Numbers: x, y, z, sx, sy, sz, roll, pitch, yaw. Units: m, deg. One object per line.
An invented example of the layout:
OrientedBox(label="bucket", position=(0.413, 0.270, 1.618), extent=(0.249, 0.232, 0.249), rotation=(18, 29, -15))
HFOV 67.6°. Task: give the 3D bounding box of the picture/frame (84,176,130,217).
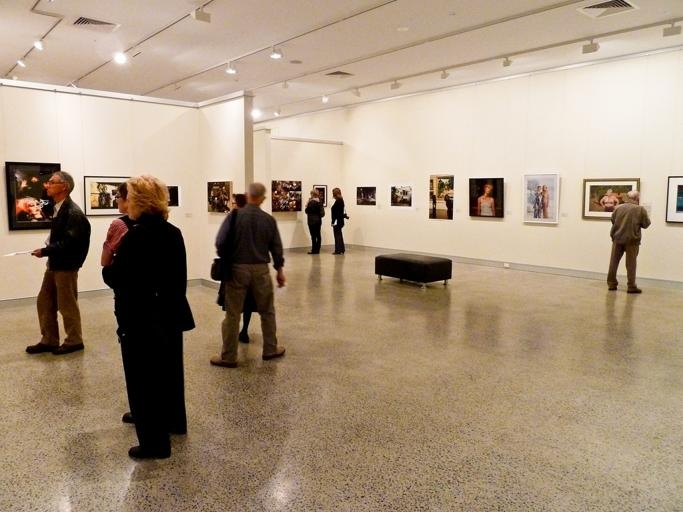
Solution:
OrientedBox(label="picture/frame", position=(-4.082, -1.021, 8.750), extent=(0.920, 0.939, 0.060), rotation=(-9, 13, -44))

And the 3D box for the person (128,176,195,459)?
OrientedBox(label="person", position=(-1.726, 0.605, 4.785), extent=(0.481, 2.566, 0.633), rotation=(5, 14, 19))

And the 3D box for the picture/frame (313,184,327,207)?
OrientedBox(label="picture/frame", position=(-0.735, -2.085, 17.417), extent=(0.046, 1.001, 0.811), rotation=(4, 8, 35))

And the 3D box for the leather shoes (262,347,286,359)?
OrientedBox(label="leather shoes", position=(-0.904, 1.308, 6.863), extent=(0.114, 0.154, 0.326), rotation=(8, 18, 30))

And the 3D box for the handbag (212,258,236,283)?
OrientedBox(label="handbag", position=(-1.450, 0.135, 6.255), extent=(0.222, 0.466, 0.305), rotation=(-5, 11, -24))

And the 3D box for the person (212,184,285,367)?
OrientedBox(label="person", position=(-1.182, 0.203, 6.671), extent=(0.907, 2.390, 0.672), rotation=(0, 7, -17))

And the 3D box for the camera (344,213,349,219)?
OrientedBox(label="camera", position=(0.192, -1.309, 16.735), extent=(0.155, 0.182, 0.125), rotation=(5, -4, -18))

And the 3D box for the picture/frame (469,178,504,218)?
OrientedBox(label="picture/frame", position=(4.137, -1.637, 14.281), extent=(0.045, 1.098, 0.927), rotation=(-8, 15, -40))

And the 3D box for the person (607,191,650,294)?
OrientedBox(label="person", position=(6.147, -0.272, 10.911), extent=(0.771, 2.107, 0.707), rotation=(10, 16, 35))

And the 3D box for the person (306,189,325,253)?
OrientedBox(label="person", position=(-0.853, -1.018, 16.811), extent=(0.575, 1.918, 1.431), rotation=(0, 14, -3))

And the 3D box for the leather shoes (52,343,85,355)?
OrientedBox(label="leather shoes", position=(-3.718, 1.243, 6.948), extent=(0.138, 0.150, 0.349), rotation=(5, 2, 43))

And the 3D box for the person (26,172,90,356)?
OrientedBox(label="person", position=(-3.774, 0.130, 6.803), extent=(0.657, 2.404, 0.722), rotation=(8, 15, 31))

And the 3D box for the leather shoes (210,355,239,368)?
OrientedBox(label="leather shoes", position=(-1.523, 1.359, 6.568), extent=(0.282, 0.114, 0.147), rotation=(12, 14, 20))

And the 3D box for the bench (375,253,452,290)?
OrientedBox(label="bench", position=(1.603, 0.313, 11.531), extent=(1.596, 0.652, 0.821), rotation=(12, 18, 36))
